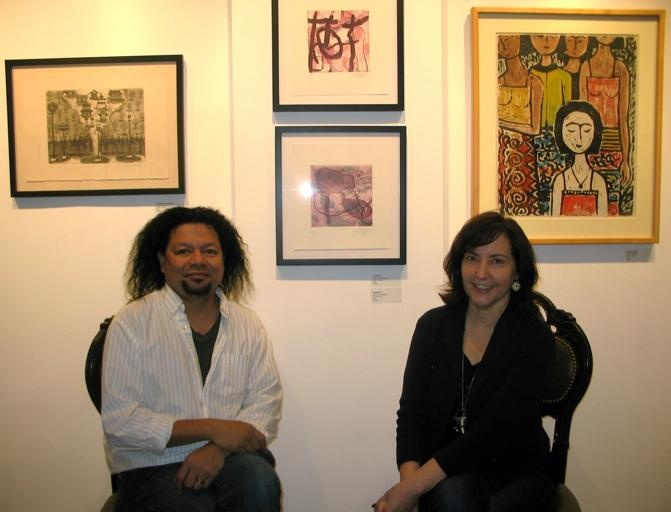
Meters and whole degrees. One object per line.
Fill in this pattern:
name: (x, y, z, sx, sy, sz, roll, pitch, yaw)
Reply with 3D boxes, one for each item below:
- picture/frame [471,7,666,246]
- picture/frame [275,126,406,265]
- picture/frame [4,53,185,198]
picture/frame: (1.205, -0.731, 3.124, 1.195, 1.630, 0.100, 0, -1, -2)
picture/frame: (0.010, -0.332, 3.118, 0.677, 0.729, 0.025, -1, 4, 0)
picture/frame: (-1.267, -0.710, 3.143, 0.702, 0.572, 0.025, 0, 2, -1)
